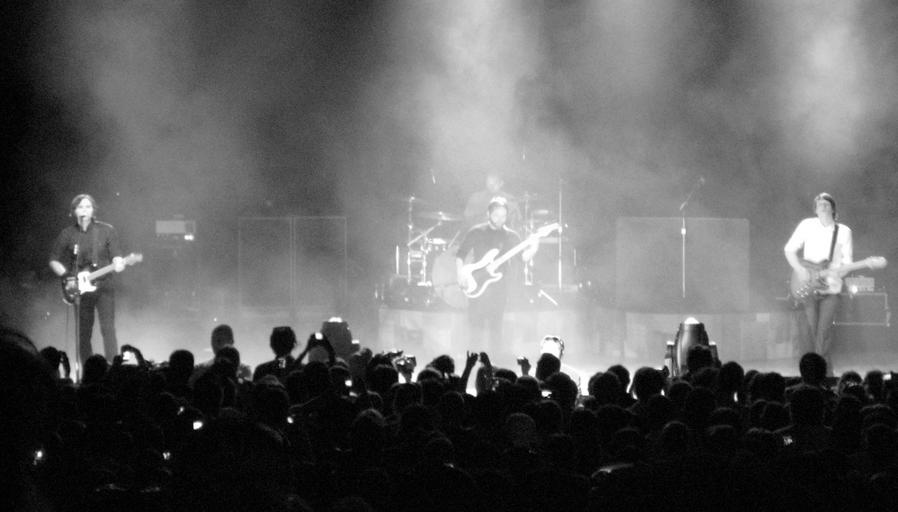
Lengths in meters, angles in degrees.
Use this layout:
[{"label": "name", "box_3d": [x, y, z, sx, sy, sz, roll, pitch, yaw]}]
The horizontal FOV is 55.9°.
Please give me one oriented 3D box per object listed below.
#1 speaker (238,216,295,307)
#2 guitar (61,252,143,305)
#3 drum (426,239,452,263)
[{"label": "speaker", "box_3d": [-3.215, 0.142, 14.633, 0.884, 1.564, 0.467, 0, -12, -15]}, {"label": "guitar", "box_3d": [-4.617, 0.299, 10.987, 0.817, 0.288, 0.111, -20, 2, -26]}, {"label": "drum", "box_3d": [-0.067, -0.094, 13.295, 0.457, 0.386, 0.275, 7, -15, -41]}]
